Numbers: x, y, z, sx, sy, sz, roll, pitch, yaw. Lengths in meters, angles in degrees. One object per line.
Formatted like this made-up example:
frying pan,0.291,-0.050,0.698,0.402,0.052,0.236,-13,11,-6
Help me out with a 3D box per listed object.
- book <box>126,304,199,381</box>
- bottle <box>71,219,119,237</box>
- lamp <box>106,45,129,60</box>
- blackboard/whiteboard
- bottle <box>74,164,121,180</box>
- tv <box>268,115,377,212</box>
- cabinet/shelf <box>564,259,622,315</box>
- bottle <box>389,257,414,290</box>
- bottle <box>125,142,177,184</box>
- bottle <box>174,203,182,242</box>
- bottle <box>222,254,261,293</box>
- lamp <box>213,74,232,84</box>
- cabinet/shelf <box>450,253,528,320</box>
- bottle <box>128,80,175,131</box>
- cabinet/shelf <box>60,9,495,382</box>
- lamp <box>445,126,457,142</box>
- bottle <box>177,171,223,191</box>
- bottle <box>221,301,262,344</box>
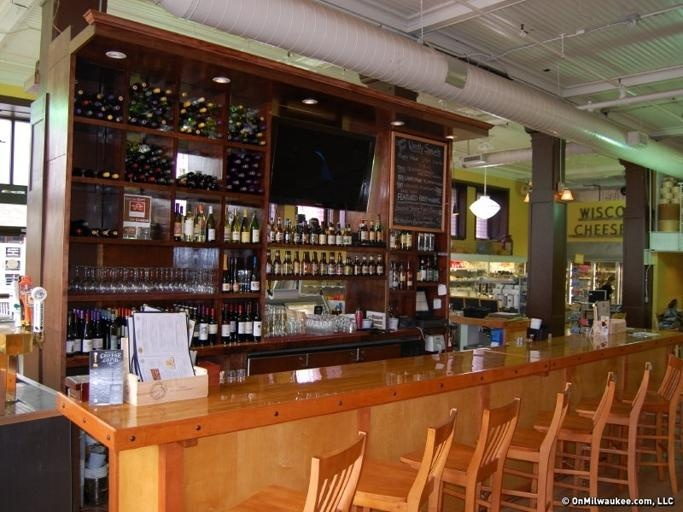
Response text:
book,-1.031,0.511,3.259,0.338,0.348,0.135,2,5,-32
bottle,-2.139,-0.238,4.959,0.386,0.127,0.377,5,5,0
lamp,-1.858,-1.668,4.717,0.165,0.043,0.263,3,5,-21
blackboard/whiteboard,0.871,-0.897,6.877,1.261,1.342,0.098,3,-4,-45
bottle,-2.129,-0.717,4.948,0.374,0.097,0.410,5,5,0
tv,-0.262,-1.037,6.269,1.227,0.785,0.120,0,16,-35
cabinet/shelf,5.727,0.630,13.144,1.234,0.763,3.344,7,5,25
bottle,0.712,0.231,6.943,0.388,0.501,0.161,3,-7,-19
bottle,-1.723,-0.840,5.167,0.424,0.363,0.193,3,5,-20
bottle,-1.523,-0.322,5.356,0.085,0.324,0.264,4,5,-16
bottle,-0.988,0.215,5.740,0.480,0.431,0.326,3,-7,-28
lamp,-1.106,-1.618,5.248,0.166,0.042,0.213,5,5,2
cabinet/shelf,2.980,0.635,11.901,1.405,1.212,0.672,1,-3,-37
bottle,-1.700,-1.336,5.112,0.384,0.367,0.194,3,5,-21
cabinet/shelf,-0.686,-0.626,5.512,4.194,2.794,0.790,0,-1,-34
lamp,1.315,-1.493,7.008,0.096,0.093,0.087,0,-1,-34
bottle,-1.329,-0.697,5.359,0.266,0.082,0.221,5,1,-10
bottle,-0.977,0.658,5.511,0.415,0.531,0.160,2,-2,-33
